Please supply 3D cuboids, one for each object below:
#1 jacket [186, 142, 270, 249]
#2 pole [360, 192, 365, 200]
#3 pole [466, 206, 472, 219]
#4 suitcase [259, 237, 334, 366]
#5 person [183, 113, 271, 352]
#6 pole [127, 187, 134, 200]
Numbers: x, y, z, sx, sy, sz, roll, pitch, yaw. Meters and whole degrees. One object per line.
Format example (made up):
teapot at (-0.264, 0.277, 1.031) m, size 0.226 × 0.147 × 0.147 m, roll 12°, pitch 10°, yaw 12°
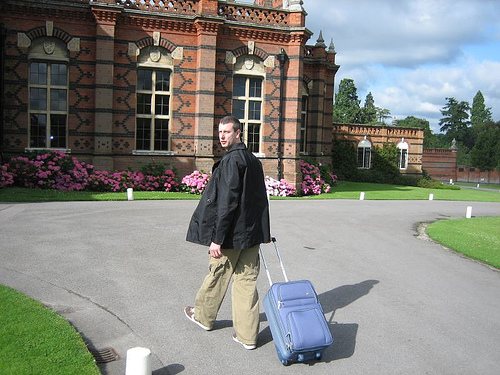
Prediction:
jacket at (-0.204, 0.064, 5.827) m, size 0.995 × 1.326 × 1.408 m, roll 4°, pitch 5°, yaw 25°
pole at (5.774, 0.451, 22.739) m, size 0.197 × 0.356 × 0.444 m, roll -1°, pitch 2°, yaw 11°
pole at (8.618, 0.973, 17.372) m, size 0.184 × 0.417 × 0.636 m, roll 0°, pitch 2°, yaw 24°
suitcase at (0.488, 1.449, 5.473) m, size 0.577 × 1.644 × 0.508 m, roll -7°, pitch -39°, yaw -12°
person at (-0.252, 0.555, 5.613) m, size 1.026 × 2.930 × 0.698 m, roll -1°, pitch 2°, yaw 2°
pole at (-4.731, 0.255, 17.358) m, size 0.245 × 0.455 × 0.422 m, roll -2°, pitch 2°, yaw -16°
